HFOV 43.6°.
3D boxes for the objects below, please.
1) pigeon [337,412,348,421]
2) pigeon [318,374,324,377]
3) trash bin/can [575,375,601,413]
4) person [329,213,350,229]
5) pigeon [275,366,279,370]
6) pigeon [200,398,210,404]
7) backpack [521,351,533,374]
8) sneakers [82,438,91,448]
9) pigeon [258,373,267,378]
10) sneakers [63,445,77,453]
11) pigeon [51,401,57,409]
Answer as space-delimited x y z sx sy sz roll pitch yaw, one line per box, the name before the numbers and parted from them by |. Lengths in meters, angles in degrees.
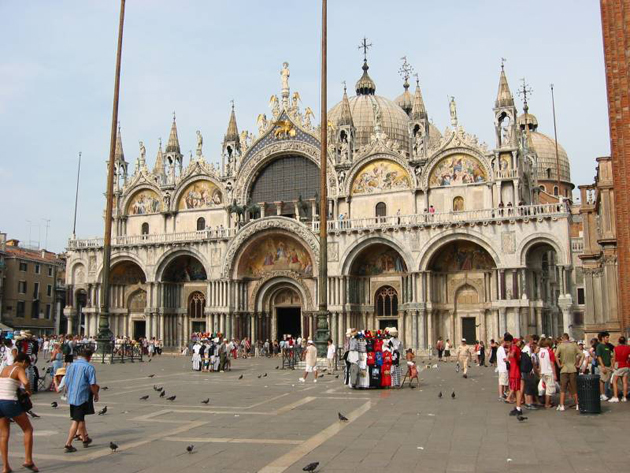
pigeon | 0.786 5.106 22.787 0.345 0.243 0.200 4 -15 -1
pigeon | 0.272 6.061 35.030 0.083 0.132 0.273 -10 -8 38
trash bin/can | 8.123 4.570 23.326 0.617 1.157 0.491 -5 -12 13
person | 1.670 -1.017 53.953 1.322 1.439 1.017 2 2 31
pigeon | -2.007 6.693 41.041 0.111 0.221 0.339 0 -6 -10
pigeon | -3.704 5.439 26.479 0.391 0.273 0.140 -3 -10 45
backpack | 6.603 3.832 24.506 0.474 0.664 0.317 6 -14 -35
sneakers | -6.011 5.286 20.606 0.108 0.147 0.318 0 2 -3
pigeon | -2.392 6.129 35.367 0.178 0.318 0.463 -16 -22 13
sneakers | -6.242 5.289 19.935 0.127 0.145 0.322 0 -4 29
pigeon | -8.538 5.389 25.666 0.169 0.230 0.339 -1 -20 -3
